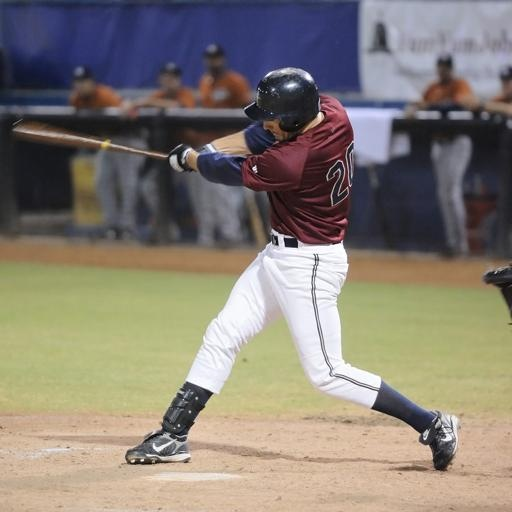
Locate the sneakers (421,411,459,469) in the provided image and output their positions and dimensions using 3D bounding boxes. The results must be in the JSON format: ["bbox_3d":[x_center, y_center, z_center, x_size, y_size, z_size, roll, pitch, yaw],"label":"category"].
[{"bbox_3d":[0.789,0.802,4.233,0.193,0.283,0.098,1,-47,-7],"label":"sneakers"}]

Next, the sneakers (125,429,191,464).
[{"bbox_3d":[-0.431,0.827,4.188,0.156,0.119,0.347,4,-4,40],"label":"sneakers"}]

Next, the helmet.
[{"bbox_3d":[0.128,-0.681,4.162,0.386,0.192,0.211,-8,32,-1],"label":"helmet"}]

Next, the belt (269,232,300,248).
[{"bbox_3d":[0.128,-0.061,4.152,0.103,0.024,0.084,9,3,4],"label":"belt"}]

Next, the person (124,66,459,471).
[{"bbox_3d":[0.166,0.030,4.319,1.387,1.717,0.823,2,16,-2],"label":"person"}]

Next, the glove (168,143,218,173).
[{"bbox_3d":[-0.285,-0.451,4.369,0.233,0.120,0.092,-9,-44,5],"label":"glove"}]
